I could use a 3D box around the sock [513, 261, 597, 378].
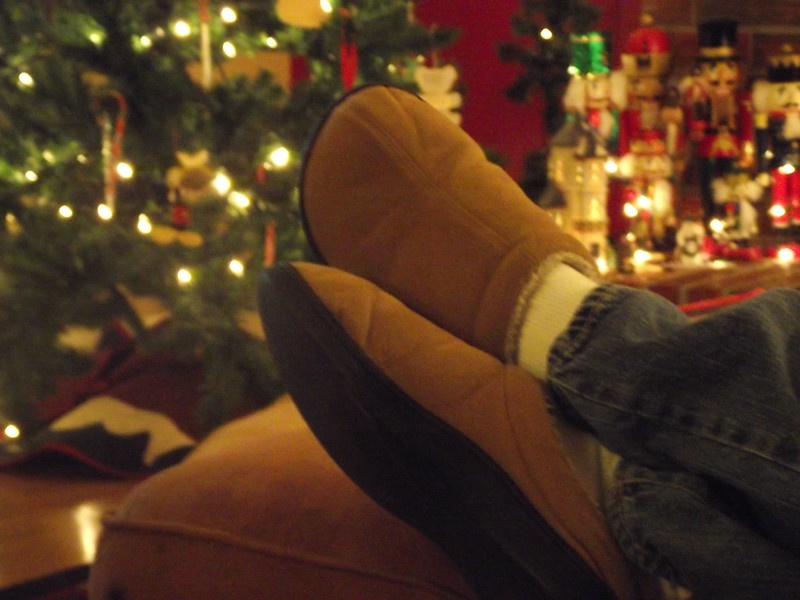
[{"bbox_3d":[0.203,0.021,1.075,0.086,0.156,0.056,20,-14,9],"label":"sock"}]

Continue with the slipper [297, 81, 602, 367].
[{"bbox_3d":[0.111,-0.073,1.262,0.255,0.537,0.214,-51,11,-4],"label":"slipper"}]

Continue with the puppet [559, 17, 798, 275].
[{"bbox_3d":[0.935,-0.494,2.704,0.805,1.026,0.432,-5,8,-22],"label":"puppet"}]
